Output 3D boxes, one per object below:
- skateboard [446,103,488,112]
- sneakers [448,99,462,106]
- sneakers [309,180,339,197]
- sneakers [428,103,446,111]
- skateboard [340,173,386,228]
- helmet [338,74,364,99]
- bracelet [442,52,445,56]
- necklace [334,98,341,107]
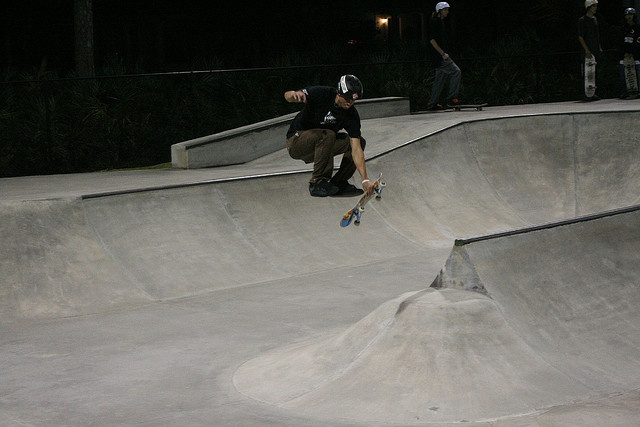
[{"bbox_3d":[3.716,-2.702,13.858,1.286,0.205,0.377,-2,5,-2],"label":"skateboard"},{"bbox_3d":[3.393,-2.790,13.652,0.288,0.201,0.283,2,7,20],"label":"sneakers"},{"bbox_3d":[0.064,-0.359,7.572,0.375,0.169,0.196,-1,6,32],"label":"sneakers"},{"bbox_3d":[3.017,-2.700,13.907,0.602,0.217,0.190,-1,18,-24],"label":"sneakers"},{"bbox_3d":[0.622,-0.162,8.066,0.143,0.969,0.269,48,8,31],"label":"skateboard"},{"bbox_3d":[0.383,-1.607,7.075,0.274,0.262,0.357,5,-17,-23],"label":"helmet"},{"bbox_3d":[2.915,-3.772,12.856,0.074,0.087,0.071,-3,4,4],"label":"bracelet"},{"bbox_3d":[0.253,-1.469,7.136,0.091,0.114,0.117,-1,-24,-19],"label":"necklace"}]
